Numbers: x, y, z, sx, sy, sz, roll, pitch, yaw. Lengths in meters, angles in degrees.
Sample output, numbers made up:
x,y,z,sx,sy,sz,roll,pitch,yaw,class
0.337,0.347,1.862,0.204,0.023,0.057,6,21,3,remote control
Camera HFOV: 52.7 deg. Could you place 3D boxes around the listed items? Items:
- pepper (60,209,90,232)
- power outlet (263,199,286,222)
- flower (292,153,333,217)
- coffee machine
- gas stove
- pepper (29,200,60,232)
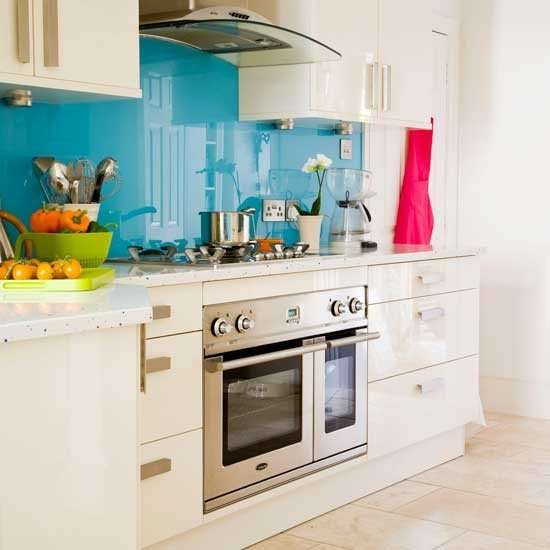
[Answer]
x,y,z,sx,sy,sz,roll,pitch,yaw,class
-0.563,-0.151,1.608,0.090,0.064,0.079,-1,2,-33,pepper
-0.003,-0.312,2.731,0.118,0.104,0.028,-4,5,-39,power outlet
0.213,-0.483,2.837,0.164,0.379,0.182,-5,13,-43,flower
0.357,-0.320,2.857,0.240,0.408,0.231,11,13,44,coffee machine
-0.215,-0.096,2.161,0.552,0.106,0.798,1,2,30,gas stove
-0.668,-0.162,1.628,0.068,0.085,0.128,-1,2,-36,pepper
